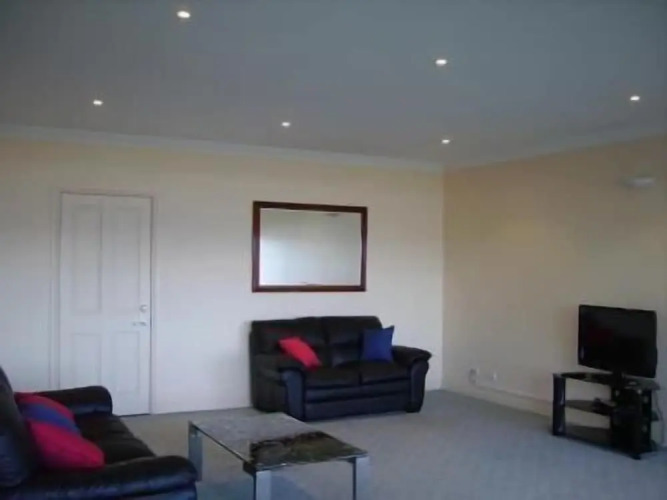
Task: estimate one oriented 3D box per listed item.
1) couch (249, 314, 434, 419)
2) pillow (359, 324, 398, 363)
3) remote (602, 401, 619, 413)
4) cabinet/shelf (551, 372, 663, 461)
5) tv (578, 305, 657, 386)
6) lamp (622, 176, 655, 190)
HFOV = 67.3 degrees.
[{"bbox_3d":[0.005,1.445,6.302,1.924,1.075,1.154,1,-1,-23],"label":"couch"},{"bbox_3d":[0.558,1.216,6.443,0.451,0.443,0.162,1,-37,5],"label":"pillow"},{"bbox_3d":[2.804,1.578,5.033,0.091,0.035,0.092,-6,7,-35],"label":"remote"},{"bbox_3d":[2.866,1.831,5.216,0.669,0.791,1.213,3,-5,-31],"label":"cabinet/shelf"},{"bbox_3d":[2.953,0.977,5.142,0.127,0.751,0.904,7,-8,-42],"label":"tv"},{"bbox_3d":[3.160,-0.696,5.199,0.094,0.087,0.311,1,-1,-33],"label":"lamp"}]
